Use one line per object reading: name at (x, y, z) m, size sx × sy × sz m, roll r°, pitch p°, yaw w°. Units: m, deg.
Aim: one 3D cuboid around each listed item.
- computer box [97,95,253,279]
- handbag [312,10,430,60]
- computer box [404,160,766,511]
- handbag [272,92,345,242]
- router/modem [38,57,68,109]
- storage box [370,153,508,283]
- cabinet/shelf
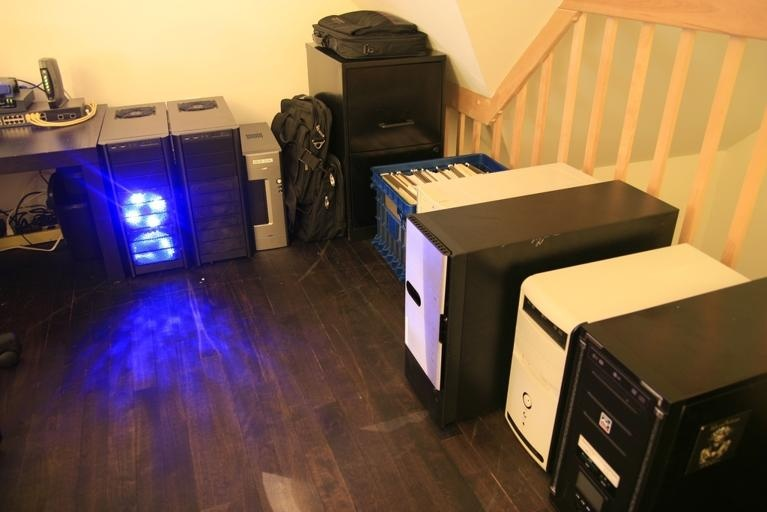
computer box at (-1.165, -0.469, 3.371) m, size 0.857 × 0.916 × 0.889 m, roll -12°, pitch 16°, yaw -25°
handbag at (-0.034, -1.258, 3.344) m, size 0.576 × 0.206 × 0.656 m, roll -10°, pitch 14°, yaw -15°
computer box at (0.671, 0.289, 2.249) m, size 1.133 × 0.890 × 1.241 m, roll -2°, pitch 28°, yaw -4°
handbag at (-0.436, -0.519, 3.249) m, size 0.381 × 0.722 × 0.548 m, roll -6°, pitch 35°, yaw -15°
router/modem at (-1.819, -0.961, 3.038) m, size 0.106 × 0.245 × 0.263 m, roll -15°, pitch 31°, yaw -26°
storage box at (0.292, -0.275, 3.257) m, size 0.740 × 0.487 × 0.675 m, roll -10°, pitch 45°, yaw -13°
cabinet/shelf at (-0.037, -0.807, 3.586) m, size 0.616 × 1.009 × 0.773 m, roll -8°, pitch 29°, yaw -13°
